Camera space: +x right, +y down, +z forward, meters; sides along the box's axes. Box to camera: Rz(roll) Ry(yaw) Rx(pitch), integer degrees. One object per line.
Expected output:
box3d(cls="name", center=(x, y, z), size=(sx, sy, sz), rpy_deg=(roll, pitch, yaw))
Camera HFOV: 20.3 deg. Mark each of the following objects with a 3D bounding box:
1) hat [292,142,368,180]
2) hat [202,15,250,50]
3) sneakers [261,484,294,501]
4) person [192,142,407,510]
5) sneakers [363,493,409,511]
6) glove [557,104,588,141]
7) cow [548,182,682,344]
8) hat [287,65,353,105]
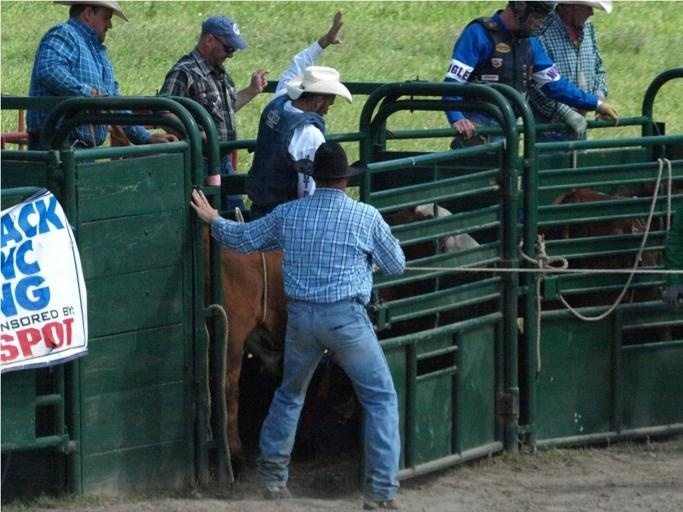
box3d(cls="hat", center=(-0.100, -0.711, 14.677), size=(0.380, 0.167, 0.440), rpy_deg=(2, 9, 1))
box3d(cls="hat", center=(-0.995, -1.919, 16.591), size=(0.392, 0.211, 0.248), rpy_deg=(22, 22, -12))
box3d(cls="sneakers", center=(-0.495, 1.835, 14.575), size=(0.267, 0.180, 0.087), rpy_deg=(-2, 2, -9))
box3d(cls="person", center=(-0.175, 0.566, 14.459), size=(1.334, 2.776, 0.319), rpy_deg=(-2, 6, 1))
box3d(cls="sneakers", center=(0.349, 1.891, 14.459), size=(0.315, 0.212, 0.106), rpy_deg=(-4, 9, -4))
box3d(cls="glove", center=(2.005, -1.174, 16.656), size=(0.194, 0.349, 0.133), rpy_deg=(-14, -33, -23))
box3d(cls="cow", center=(2.206, 0.045, 15.889), size=(1.280, 1.195, 0.342), rpy_deg=(1, -2, -10))
box3d(cls="hat", center=(-0.169, -1.339, 14.907), size=(0.368, 0.157, 0.308), rpy_deg=(-4, 25, -25))
